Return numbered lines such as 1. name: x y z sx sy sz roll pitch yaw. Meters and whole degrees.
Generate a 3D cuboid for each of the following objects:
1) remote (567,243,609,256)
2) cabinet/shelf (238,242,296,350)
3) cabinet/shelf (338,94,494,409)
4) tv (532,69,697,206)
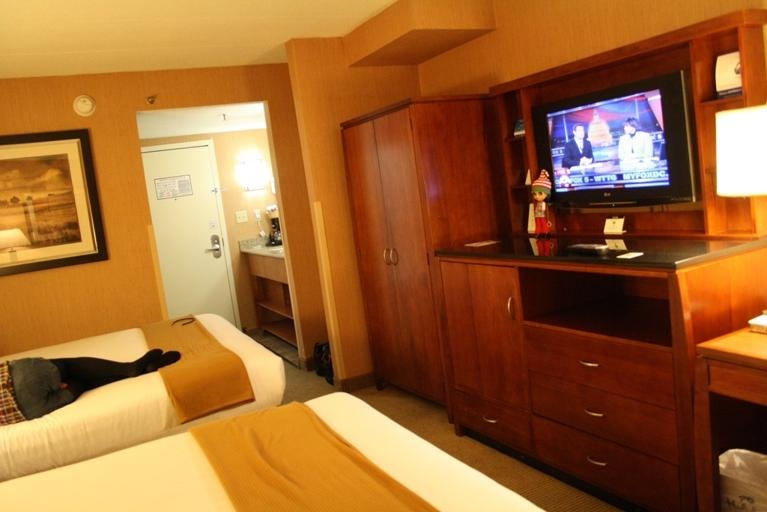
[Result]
1. remote: 1.167 -0.042 3.203 0.104 0.049 0.266 -12 13 -38
2. cabinet/shelf: -1.209 0.457 6.801 0.413 1.118 1.295 -12 11 -33
3. cabinet/shelf: 0.353 -0.023 4.625 0.711 2.014 1.125 -8 0 -33
4. tv: 1.481 -0.699 3.650 0.121 0.779 1.153 -12 9 -27
